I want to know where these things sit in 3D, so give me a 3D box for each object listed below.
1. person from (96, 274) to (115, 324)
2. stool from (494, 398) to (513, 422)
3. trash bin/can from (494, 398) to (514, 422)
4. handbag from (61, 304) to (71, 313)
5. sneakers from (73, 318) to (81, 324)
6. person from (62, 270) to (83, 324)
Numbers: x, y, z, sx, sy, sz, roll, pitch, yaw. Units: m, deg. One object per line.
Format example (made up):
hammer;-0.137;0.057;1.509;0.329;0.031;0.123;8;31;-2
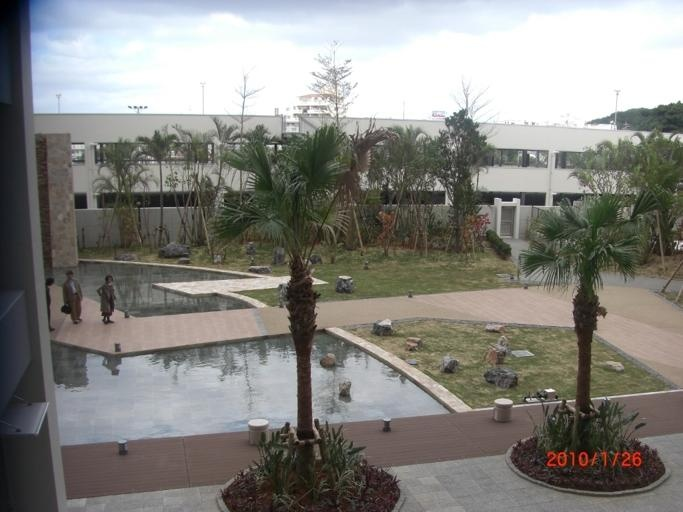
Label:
person;-6.755;1.204;15.033;0.369;1.403;1.251;-3;7;-26
stool;3.026;2.809;9.695;0.345;0.379;0.345;0;4;0
trash bin/can;2.995;2.788;9.629;0.346;0.375;0.345;0;4;-1
handbag;-7.746;1.475;14.678;0.226;0.243;0.231;5;2;42
sneakers;-7.587;1.849;15.021;0.155;0.175;0.087;0;5;21
person;-7.740;1.152;15.020;0.456;1.495;1.340;-3;7;-28
